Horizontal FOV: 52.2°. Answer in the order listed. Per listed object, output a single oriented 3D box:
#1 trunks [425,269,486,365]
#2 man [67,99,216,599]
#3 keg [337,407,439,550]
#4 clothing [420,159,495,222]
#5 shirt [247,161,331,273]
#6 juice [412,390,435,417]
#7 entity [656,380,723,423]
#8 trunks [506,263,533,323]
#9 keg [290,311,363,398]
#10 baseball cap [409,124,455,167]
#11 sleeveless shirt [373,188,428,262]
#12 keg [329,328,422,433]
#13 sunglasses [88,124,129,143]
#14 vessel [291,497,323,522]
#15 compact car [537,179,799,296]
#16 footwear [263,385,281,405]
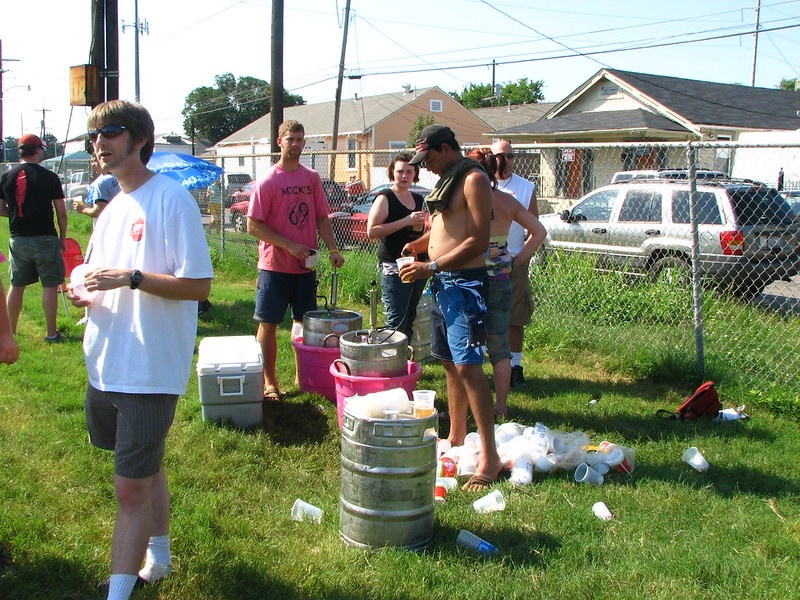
[{"bbox_3d":[0.427,0.100,6.231,0.389,0.747,0.551,-5,8,-34],"label":"trunks"},{"bbox_3d":[-1.538,0.266,4.899,0.707,2.852,0.735,-6,11,-35],"label":"man"},{"bbox_3d":[-0.072,1.177,5.570,0.717,0.895,0.771,1,1,-2],"label":"keg"},{"bbox_3d":[0.427,-0.786,6.018,0.150,0.436,0.380,25,50,7],"label":"clothing"},{"bbox_3d":[-0.976,-0.767,7.404,0.767,0.908,0.291,-7,15,-27],"label":"shirt"},{"bbox_3d":[0.171,0.708,5.567,0.155,0.180,0.128,-3,15,-19],"label":"juice"},{"bbox_3d":[2.567,0.919,7.252,0.557,0.339,0.610,-8,-4,-28],"label":"entity"},{"bbox_3d":[1.087,-0.053,7.855,0.290,0.568,0.398,3,2,-13],"label":"trunks"},{"bbox_3d":[-0.633,0.468,7.420,0.609,0.774,0.737,1,6,-1],"label":"keg"},{"bbox_3d":[0.195,-1.180,6.166,0.428,0.227,0.266,-27,14,-25],"label":"baseball cap"},{"bbox_3d":[0.004,-0.664,7.337,0.603,0.851,0.406,-7,11,-41],"label":"sleeveless shirt"},{"bbox_3d":[-0.231,0.636,6.848,0.672,0.821,0.801,-1,4,-7],"label":"keg"},{"bbox_3d":[-1.712,-0.966,4.763,0.235,0.096,0.087,4,10,19],"label":"sunglasses"},{"bbox_3d":[-0.644,1.455,5.640,0.186,0.159,0.161,8,-14,1],"label":"vessel"},{"bbox_3d":[3.767,-0.906,11.493,1.859,1.597,3.020,-8,13,-40],"label":"compact car"},{"bbox_3d":[-1.140,0.853,7.245,0.156,0.113,0.386,0,-4,-11],"label":"footwear"}]
